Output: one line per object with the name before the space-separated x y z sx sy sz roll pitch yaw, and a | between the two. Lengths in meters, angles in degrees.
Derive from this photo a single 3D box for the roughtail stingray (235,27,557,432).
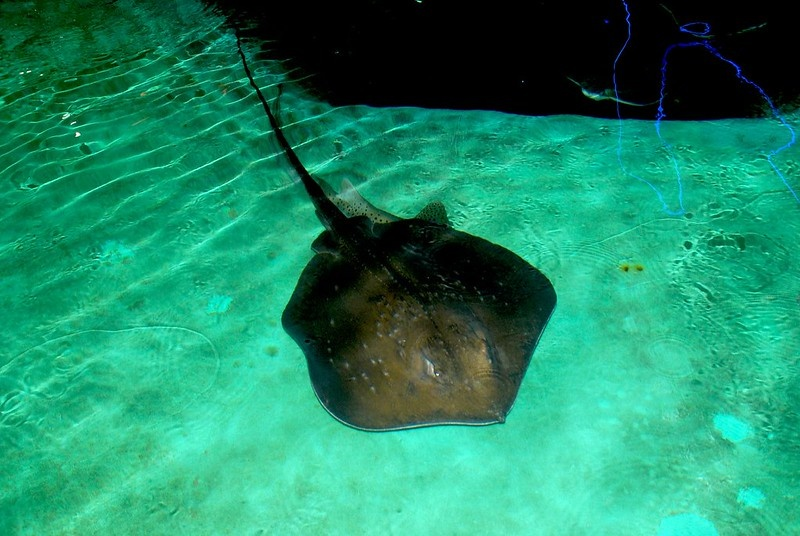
roughtail stingray | -0.070 -0.368 7.641 2.250 0.568 4.745 -22 49 -14
